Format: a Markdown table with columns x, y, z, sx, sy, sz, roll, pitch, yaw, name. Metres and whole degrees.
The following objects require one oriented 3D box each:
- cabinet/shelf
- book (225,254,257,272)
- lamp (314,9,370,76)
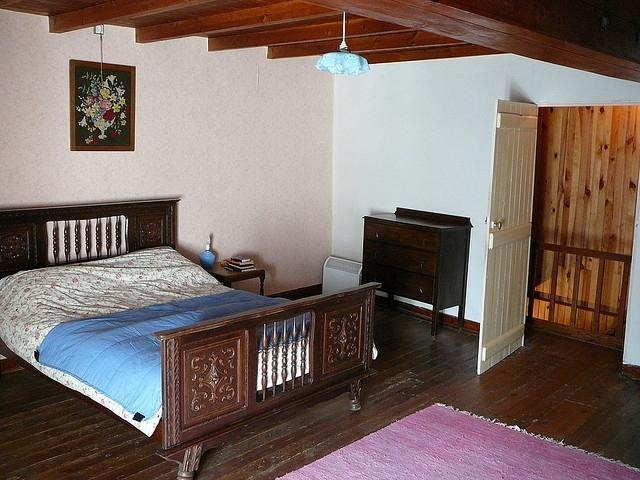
| x | y | z | sx | sy | sz | roll | pitch | yaw | name |
| --- | --- | --- | --- | --- | --- | --- | --- | --- | --- |
| 1.194 | 0.399 | 5.573 | 0.585 | 1.332 | 1.262 | -8 | 16 | -36 | cabinet/shelf |
| -0.963 | 0.262 | 5.501 | 0.195 | 0.090 | 0.262 | -7 | 16 | -37 | book |
| 0.166 | -1.390 | 3.349 | 0.345 | 0.402 | 0.192 | 4 | 12 | 10 | lamp |
